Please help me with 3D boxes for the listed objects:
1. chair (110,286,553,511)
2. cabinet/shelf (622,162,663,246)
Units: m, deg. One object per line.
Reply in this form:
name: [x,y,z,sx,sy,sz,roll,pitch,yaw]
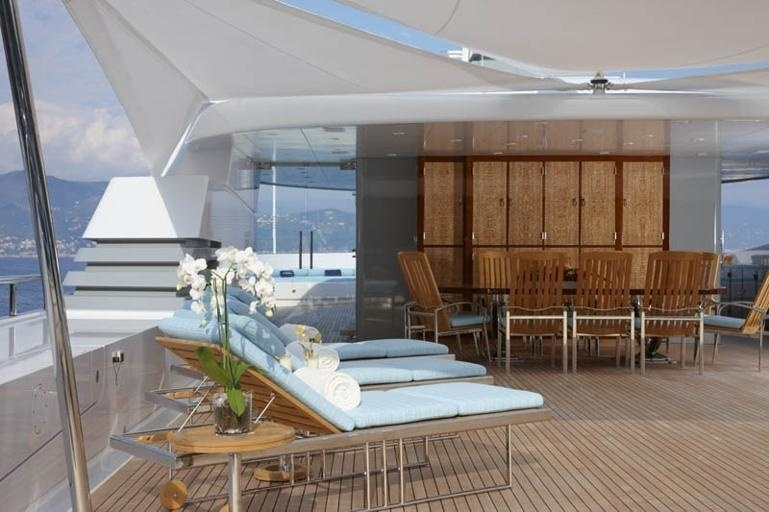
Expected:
chair: [-0.417,1.136,5.119,3.102,1.699,1.611,-3,4,-22]
cabinet/shelf: [5.056,-1.020,12.111,0.732,1.630,0.217,-1,5,18]
